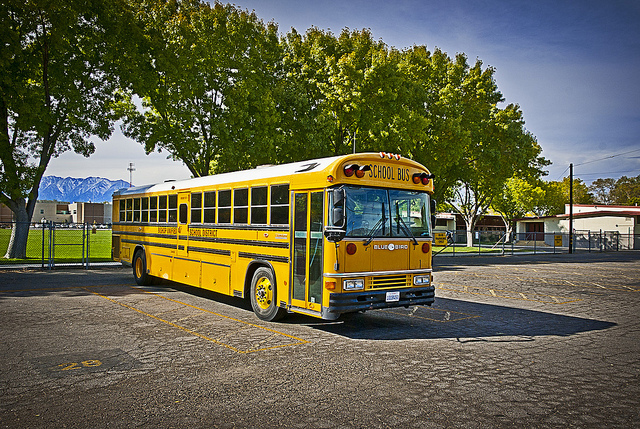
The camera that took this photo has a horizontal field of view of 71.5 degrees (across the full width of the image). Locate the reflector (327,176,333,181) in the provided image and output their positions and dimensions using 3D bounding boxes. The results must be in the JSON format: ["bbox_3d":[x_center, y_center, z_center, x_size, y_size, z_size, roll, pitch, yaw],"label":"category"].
[{"bbox_3d":[0.231,-0.835,10.479,0.126,0.116,0.075,0,-4,1],"label":"reflector"}]

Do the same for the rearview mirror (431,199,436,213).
[{"bbox_3d":[3.046,-0.197,11.912,0.072,0.323,0.216,2,2,30],"label":"rearview mirror"}]

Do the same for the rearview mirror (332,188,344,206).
[{"bbox_3d":[0.376,-0.388,10.262,0.176,0.397,0.358,-1,2,-39],"label":"rearview mirror"}]

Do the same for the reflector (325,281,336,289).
[{"bbox_3d":[0.248,1.627,10.365,0.256,0.229,0.147,1,1,19],"label":"reflector"}]
